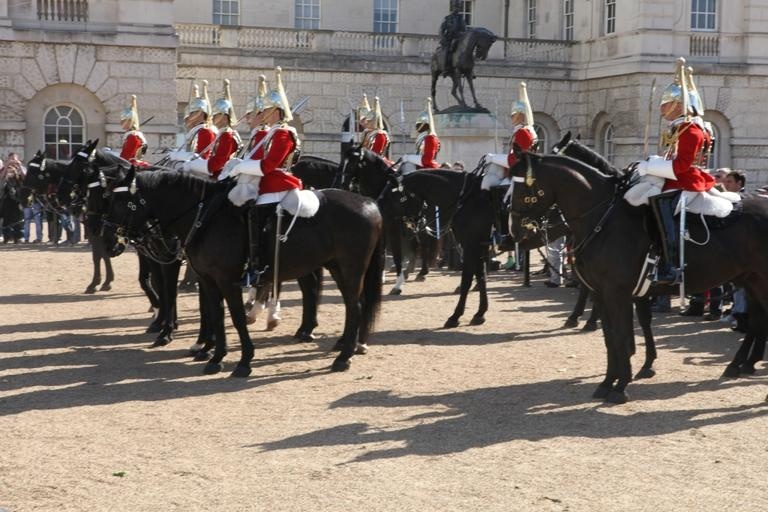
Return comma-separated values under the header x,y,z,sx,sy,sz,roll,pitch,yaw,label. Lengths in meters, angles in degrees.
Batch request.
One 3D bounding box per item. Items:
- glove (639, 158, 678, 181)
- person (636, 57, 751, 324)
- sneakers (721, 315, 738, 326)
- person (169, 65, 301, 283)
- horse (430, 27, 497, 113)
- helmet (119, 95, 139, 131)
x,y,z,sx,sy,sz,roll,pitch,yaw,label
3.508,-1.117,16.689,0.385,0.173,0.404,1,-2,-29,glove
3.839,-1.087,16.822,0.925,2.921,0.943,3,8,21,person
5.171,0.956,19.398,0.248,0.095,0.114,3,9,22,sneakers
-1.588,-1.050,17.341,0.909,2.678,0.540,-6,10,-35,person
1.761,-4.230,29.067,1.341,1.820,2.568,0,6,1,horse
-4.046,-2.261,20.819,0.286,0.363,0.203,-9,24,-34,helmet
